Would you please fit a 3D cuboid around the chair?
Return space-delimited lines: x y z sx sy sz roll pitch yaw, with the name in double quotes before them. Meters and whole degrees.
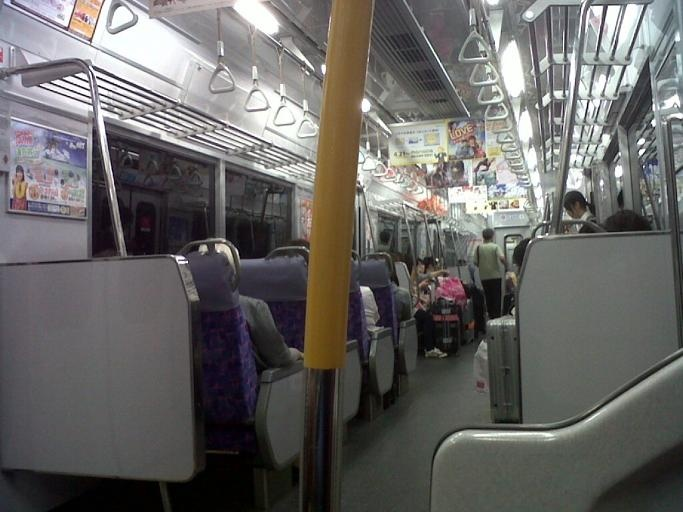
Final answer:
"chair" -0.473 0.688 3.326 0.686 1.567 1.267 -2 -1 19

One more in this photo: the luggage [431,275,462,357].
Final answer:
"luggage" 1.578 0.945 8.020 0.484 1.538 1.016 0 1 16

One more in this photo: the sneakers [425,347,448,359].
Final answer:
"sneakers" 1.386 1.432 7.825 0.240 0.136 0.146 -3 -6 12

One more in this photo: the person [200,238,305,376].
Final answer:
"person" -0.462 0.379 3.444 0.719 1.009 0.617 -3 0 -19
